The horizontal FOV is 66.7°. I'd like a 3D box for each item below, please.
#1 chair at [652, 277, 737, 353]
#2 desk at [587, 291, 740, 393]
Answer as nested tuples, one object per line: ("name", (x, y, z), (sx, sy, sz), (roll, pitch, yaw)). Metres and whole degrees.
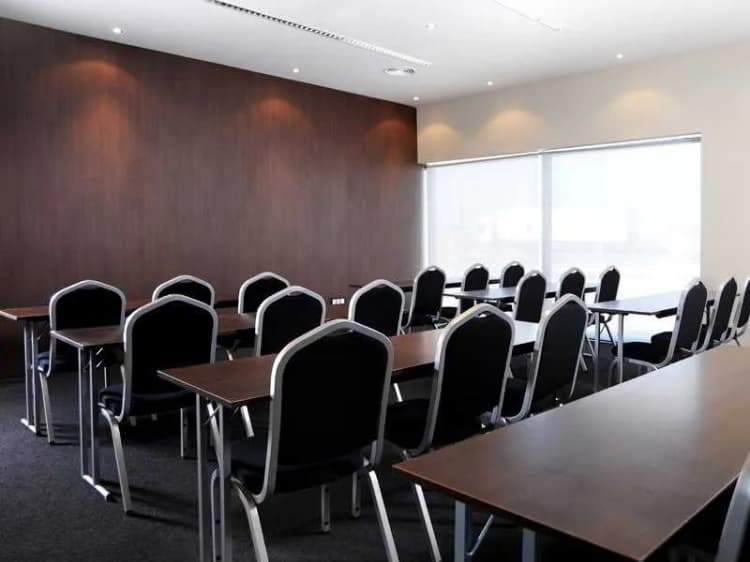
("chair", (2.640, 0.278, 4.673), (0.658, 0.683, 0.375), (-8, 11, -33))
("desk", (2.207, 0.510, 4.453), (0.604, 1.070, 0.683), (-4, 4, -28))
